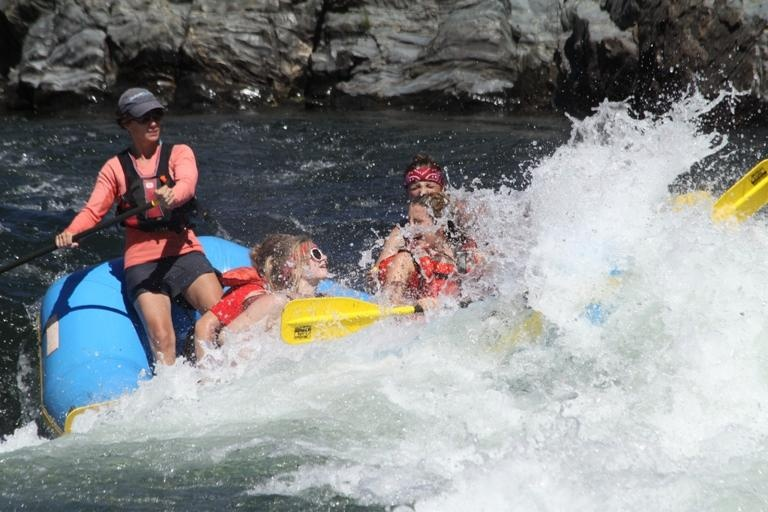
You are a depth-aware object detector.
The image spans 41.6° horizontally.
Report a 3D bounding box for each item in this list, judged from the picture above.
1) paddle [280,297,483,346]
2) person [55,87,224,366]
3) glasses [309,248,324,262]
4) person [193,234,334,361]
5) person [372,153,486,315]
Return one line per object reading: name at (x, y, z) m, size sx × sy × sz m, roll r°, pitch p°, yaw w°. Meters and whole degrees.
paddle at (-0.248, 0.659, 11.198) m, size 1.985 × 0.515 × 0.103 m, roll -4°, pitch -4°, yaw -38°
person at (-2.583, -0.334, 11.057) m, size 1.535 × 2.870 × 0.901 m, roll -2°, pitch 16°, yaw -9°
glasses at (-0.722, -0.017, 11.053) m, size 0.148 × 0.113 × 0.053 m, roll 38°, pitch 37°, yaw -7°
person at (-1.342, 0.430, 10.971) m, size 1.442 × 1.243 × 0.611 m, roll -1°, pitch 16°, yaw -5°
person at (0.505, -0.066, 11.126) m, size 1.215 × 1.175 × 0.597 m, roll 0°, pitch 16°, yaw 0°
